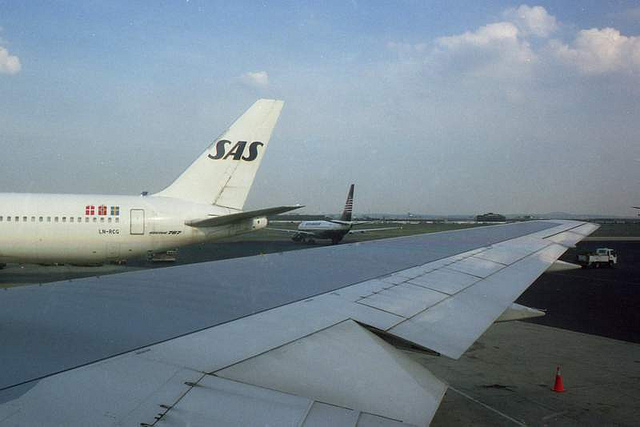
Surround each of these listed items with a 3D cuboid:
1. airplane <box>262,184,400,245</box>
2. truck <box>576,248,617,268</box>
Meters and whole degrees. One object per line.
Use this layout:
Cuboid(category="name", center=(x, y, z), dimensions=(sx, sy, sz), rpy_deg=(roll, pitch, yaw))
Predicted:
Cuboid(category="airplane", center=(0.088, 0.403, 39.628), dimensions=(8.739, 2.948, 7.519), rpy_deg=(-18, 6, -43))
Cuboid(category="truck", center=(16.694, 2.564, 27.395), dimensions=(2.817, 0.895, 1.295), rpy_deg=(-1, 3, -12))
